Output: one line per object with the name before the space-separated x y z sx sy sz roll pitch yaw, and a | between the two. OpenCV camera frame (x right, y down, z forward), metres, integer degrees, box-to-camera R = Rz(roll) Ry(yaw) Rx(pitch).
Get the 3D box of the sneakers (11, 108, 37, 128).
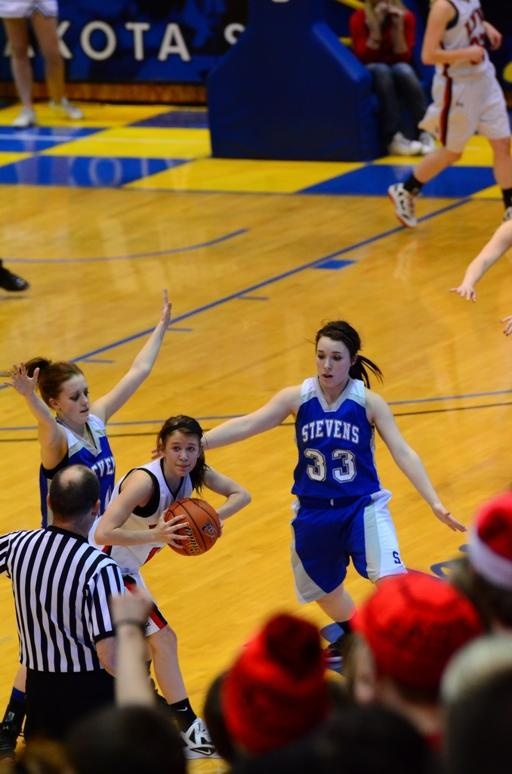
sneakers | -3.810 -4.388 12.238 0.231 0.201 0.453 6 23 14
